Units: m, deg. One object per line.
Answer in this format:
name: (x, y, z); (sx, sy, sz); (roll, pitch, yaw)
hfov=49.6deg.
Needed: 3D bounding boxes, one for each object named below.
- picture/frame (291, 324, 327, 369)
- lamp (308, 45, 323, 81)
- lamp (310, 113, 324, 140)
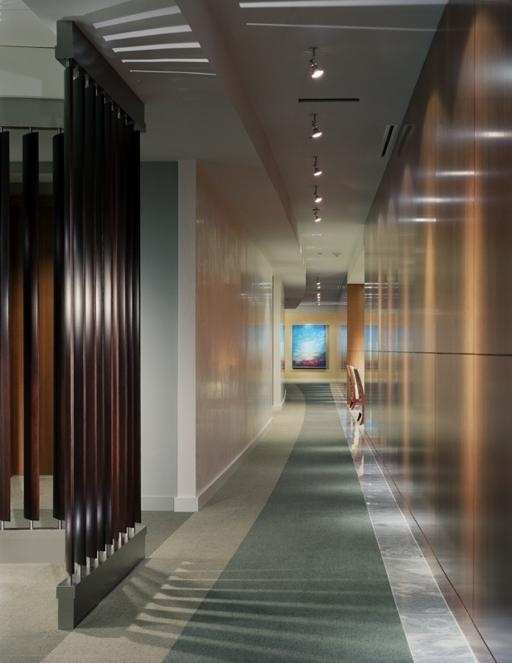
picture/frame: (3.021, 0.696, 30.472); (1.569, 3.016, 0.114); (0, -1, 3)
lamp: (0.387, -1.806, 3.701); (0.086, 0.234, 0.093); (5, 9, 42)
lamp: (0.531, -1.812, 4.871); (0.097, 0.268, 0.128); (-1, -3, -3)
